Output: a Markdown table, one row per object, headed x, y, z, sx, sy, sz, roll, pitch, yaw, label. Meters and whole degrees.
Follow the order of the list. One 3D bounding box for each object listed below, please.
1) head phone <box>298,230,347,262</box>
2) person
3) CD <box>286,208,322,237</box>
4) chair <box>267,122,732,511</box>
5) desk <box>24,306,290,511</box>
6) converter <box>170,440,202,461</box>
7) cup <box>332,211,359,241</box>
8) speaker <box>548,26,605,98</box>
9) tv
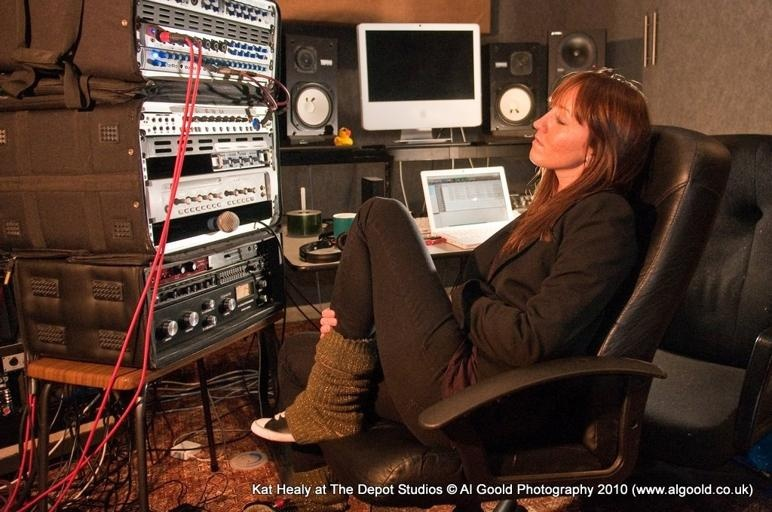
| x | y | z | sx | sy | sz | roll | pitch | yaw | label |
| --- | --- | --- | --- | --- | --- | --- | --- | --- | --- |
| -0.233 | -0.042 | 2.328 | 0.115 | 0.055 | 0.161 | 14 | 22 | 41 | head phone |
| 0.318 | -0.013 | 2.353 | 1.280 | 1.471 | 0.950 | 15 | 7 | 14 | person |
| -0.372 | -0.157 | 2.716 | 0.134 | 0.079 | 0.130 | -6 | 12 | -37 | CD |
| 0.232 | 0.068 | 2.095 | 1.143 | 1.154 | 0.952 | 2 | 7 | -7 | chair |
| -0.807 | 0.555 | 2.076 | 0.346 | 0.496 | 0.713 | 6 | 12 | 21 | desk |
| -0.819 | 0.794 | 2.436 | 0.064 | 0.020 | 0.063 | 7 | 13 | 9 | converter |
| -0.174 | -0.123 | 2.453 | 0.147 | 0.103 | 0.112 | 5 | 11 | 29 | cup |
| 1.137 | -1.115 | 3.499 | 0.354 | 0.480 | 0.320 | 1 | 34 | 13 | speaker |
| 0.175 | -0.929 | 3.111 | 0.756 | 0.603 | 0.141 | -5 | 10 | -18 | tv |
